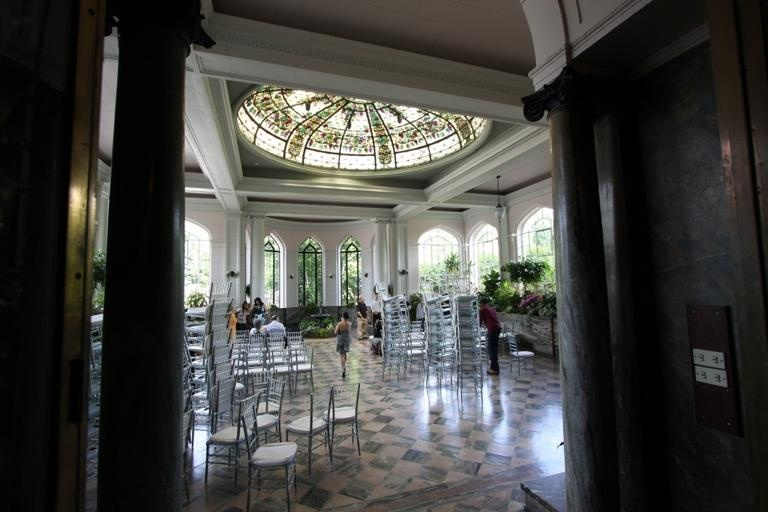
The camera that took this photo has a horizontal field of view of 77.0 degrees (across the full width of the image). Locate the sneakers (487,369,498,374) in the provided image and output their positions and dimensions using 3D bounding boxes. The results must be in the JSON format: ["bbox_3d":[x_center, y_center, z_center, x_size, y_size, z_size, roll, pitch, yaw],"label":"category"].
[{"bbox_3d":[2.242,2.391,9.968,0.260,0.101,0.092,5,-5,7],"label":"sneakers"}]

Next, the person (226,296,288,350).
[{"bbox_3d":[-2.729,1.555,11.068,1.169,0.666,1.805,1,-18,-9],"label":"person"}]

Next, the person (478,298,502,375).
[{"bbox_3d":[2.205,1.652,10.161,0.595,1.562,0.448,-4,-9,34],"label":"person"}]
